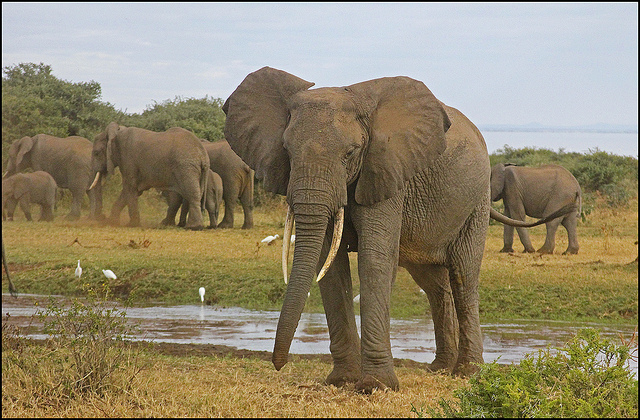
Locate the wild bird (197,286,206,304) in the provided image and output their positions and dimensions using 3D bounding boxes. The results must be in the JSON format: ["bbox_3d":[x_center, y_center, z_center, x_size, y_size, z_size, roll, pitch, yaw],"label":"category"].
[{"bbox_3d":[-2.825,2.068,21.623,0.131,0.478,0.247,-3,31,-2],"label":"wild bird"}]

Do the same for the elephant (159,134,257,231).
[{"bbox_3d":[-4.216,-0.799,30.105,3.999,2.514,2.026,6,6,42],"label":"elephant"}]

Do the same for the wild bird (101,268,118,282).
[{"bbox_3d":[-5.212,1.621,22.644,0.427,0.209,0.685,45,-6,7],"label":"wild bird"}]
